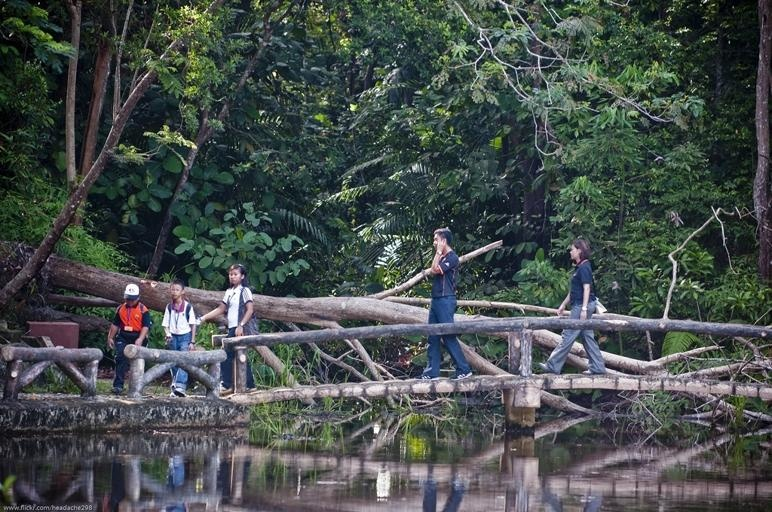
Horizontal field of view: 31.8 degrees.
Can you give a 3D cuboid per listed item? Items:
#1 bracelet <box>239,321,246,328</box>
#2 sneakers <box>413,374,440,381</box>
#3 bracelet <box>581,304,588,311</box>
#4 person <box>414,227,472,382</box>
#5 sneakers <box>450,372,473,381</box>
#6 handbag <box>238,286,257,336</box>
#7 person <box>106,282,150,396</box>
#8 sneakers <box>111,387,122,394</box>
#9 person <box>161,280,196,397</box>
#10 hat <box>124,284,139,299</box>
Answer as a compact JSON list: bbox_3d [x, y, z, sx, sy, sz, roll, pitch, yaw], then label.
[{"bbox_3d":[-2.967,1.433,27.844,0.081,0.107,0.202,-1,-9,28],"label":"bracelet"},{"bbox_3d":[0.821,2.495,27.413,0.452,0.199,0.163,4,-6,9],"label":"sneakers"},{"bbox_3d":[4.018,1.060,27.460,0.102,0.075,0.108,-18,-14,40],"label":"bracelet"},{"bbox_3d":[1.194,0.978,27.368,0.894,3.081,1.100,3,-7,2],"label":"person"},{"bbox_3d":[1.545,2.427,27.443,0.398,0.176,0.139,-12,1,-22],"label":"sneakers"},{"bbox_3d":[-2.877,1.158,27.951,0.486,1.022,0.335,6,-8,-25],"label":"handbag"},{"bbox_3d":[-5.318,1.707,27.850,0.732,2.345,1.286,6,-8,-22],"label":"person"},{"bbox_3d":[-5.541,2.777,27.670,0.200,0.152,0.281,6,-9,-15],"label":"sneakers"},{"bbox_3d":[-4.301,1.722,27.905,0.679,2.398,1.091,4,-8,-8],"label":"person"},{"bbox_3d":[-5.265,0.738,27.838,0.232,0.193,0.354,5,8,-10],"label":"hat"}]
